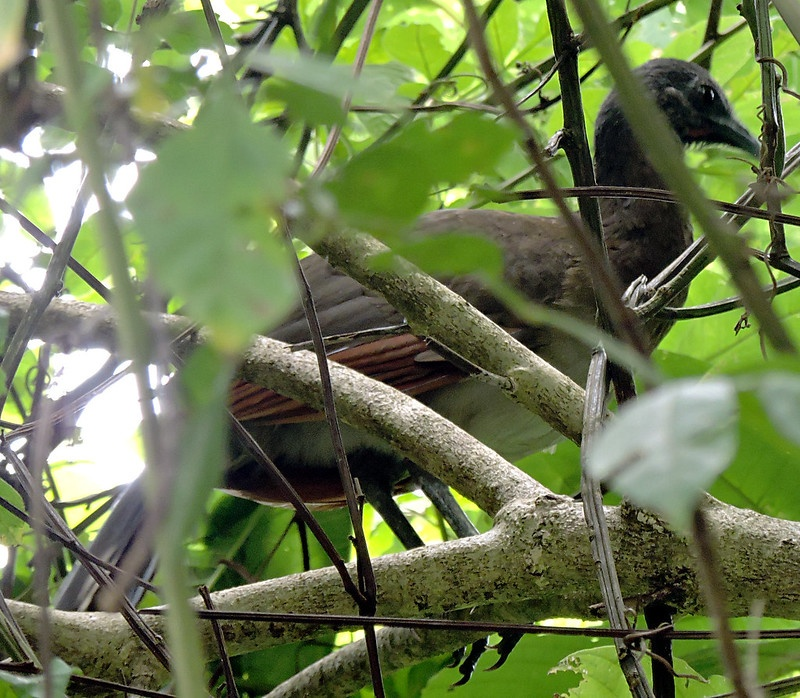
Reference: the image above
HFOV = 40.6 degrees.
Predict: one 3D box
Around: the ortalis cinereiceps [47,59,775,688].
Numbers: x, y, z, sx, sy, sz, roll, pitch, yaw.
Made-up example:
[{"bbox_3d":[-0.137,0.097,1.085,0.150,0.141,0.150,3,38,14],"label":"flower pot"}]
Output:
[{"bbox_3d":[-0.223,0.245,3.037,2.444,1.735,0.731,-12,-25,4],"label":"ortalis cinereiceps"}]
